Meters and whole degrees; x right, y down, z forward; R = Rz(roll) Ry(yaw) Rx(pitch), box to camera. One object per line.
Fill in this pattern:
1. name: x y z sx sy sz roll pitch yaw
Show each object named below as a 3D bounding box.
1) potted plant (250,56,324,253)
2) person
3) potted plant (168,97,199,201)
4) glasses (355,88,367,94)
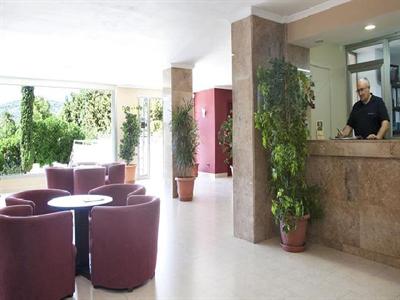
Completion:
1. potted plant: 1.374 0.048 4.694 1.020 2.972 0.829 -1 6 3
2. person: 2.708 -0.673 4.846 0.659 0.992 0.759 2 7 32
3. potted plant: -0.400 -0.020 7.754 0.728 2.591 0.744 -2 6 -7
4. glasses: 2.619 -0.950 4.803 0.143 0.093 0.144 3 7 34
